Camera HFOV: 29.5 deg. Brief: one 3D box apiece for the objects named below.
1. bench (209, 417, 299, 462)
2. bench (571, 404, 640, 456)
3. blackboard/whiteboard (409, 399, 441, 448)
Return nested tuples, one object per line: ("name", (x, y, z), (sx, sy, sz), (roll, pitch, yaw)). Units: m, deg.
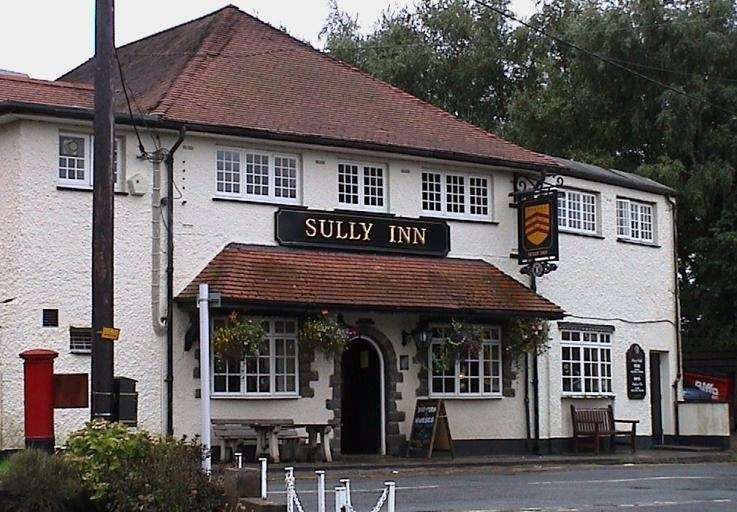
("bench", (-2.936, 4.708, 35.816), (2.111, 1.050, 1.309), (-1, 0, -9))
("bench", (6.903, 5.108, 40.910), (1.936, 1.342, 1.096), (5, -7, -41))
("blackboard/whiteboard", (1.614, 4.693, 38.033), (0.860, 1.525, 0.853), (-4, -10, 38))
